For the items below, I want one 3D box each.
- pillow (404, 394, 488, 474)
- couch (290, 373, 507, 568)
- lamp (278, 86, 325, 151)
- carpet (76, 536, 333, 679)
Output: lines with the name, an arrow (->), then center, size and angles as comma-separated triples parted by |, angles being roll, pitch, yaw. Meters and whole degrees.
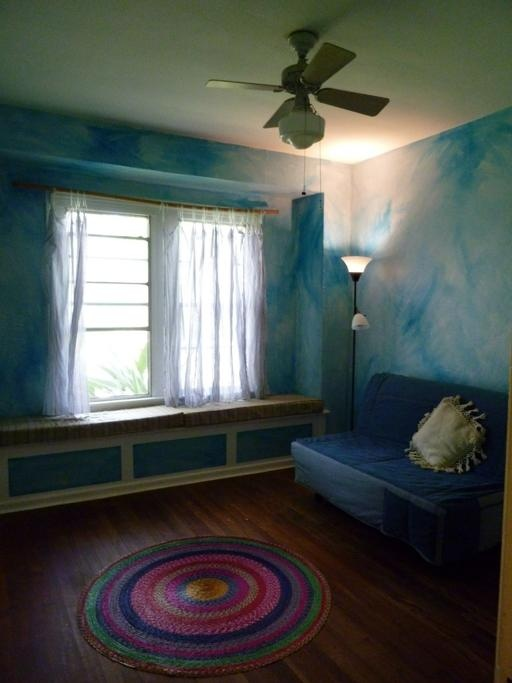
pillow -> 1.059, 0.548, 3.016 | 0.087, 0.358, 0.386 | 34, 18, -27
couch -> 0.881, 0.610, 3.148 | 0.860, 0.658, 1.391 | -2, 4, -25
lamp -> 0.187, -0.956, 2.412 | 0.211, 0.275, 0.217 | 0, -1, 4
carpet -> -0.222, 1.093, 2.346 | 1.061, 0.018, 1.009 | 1, 4, 19
